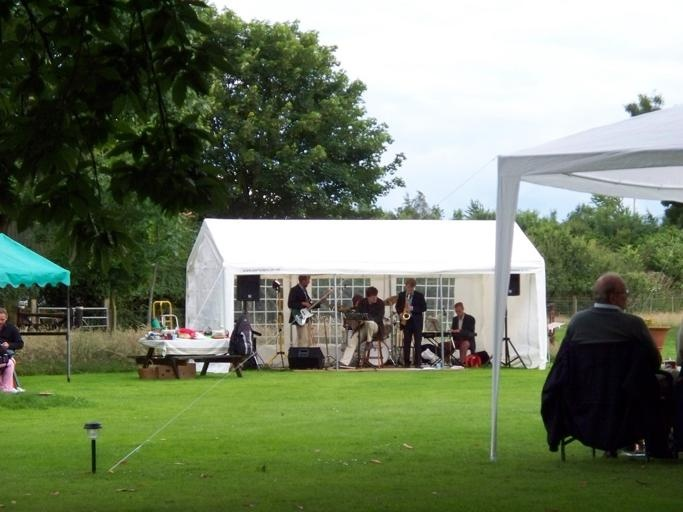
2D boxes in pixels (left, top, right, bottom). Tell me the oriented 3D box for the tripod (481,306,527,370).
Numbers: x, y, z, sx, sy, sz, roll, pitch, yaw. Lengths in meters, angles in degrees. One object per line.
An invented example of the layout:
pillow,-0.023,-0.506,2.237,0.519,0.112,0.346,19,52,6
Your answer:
tripod,3.718,1.726,23.486,0.967,1.473,0.828,-19,22,-40

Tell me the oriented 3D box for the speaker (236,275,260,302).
speaker,-1.985,0.695,23.313,0.649,0.672,0.480,1,-5,-18

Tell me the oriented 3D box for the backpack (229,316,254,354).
backpack,-1.947,1.539,21.211,0.403,0.809,0.472,-1,-8,3

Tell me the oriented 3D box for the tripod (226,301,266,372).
tripod,-1.805,1.457,21.486,0.521,1.067,0.566,-10,-19,-9

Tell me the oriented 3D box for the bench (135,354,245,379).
bench,-2.991,2.156,21.327,1.999,0.504,1.308,1,-9,-12

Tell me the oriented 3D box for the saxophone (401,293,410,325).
saxophone,1.379,1.111,22.896,0.192,0.637,0.287,6,-10,-38

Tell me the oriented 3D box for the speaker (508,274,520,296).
speaker,3.673,0.601,23.216,0.228,0.464,0.496,-4,-9,25

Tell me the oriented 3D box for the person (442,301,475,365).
person,2.615,1.703,23.923,0.646,1.343,0.970,-1,-8,2

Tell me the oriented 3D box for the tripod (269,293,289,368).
tripod,-1.377,1.569,24.060,0.369,1.724,0.601,0,-8,-5

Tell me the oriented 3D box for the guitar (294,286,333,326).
guitar,-0.616,1.136,23.183,0.746,0.679,0.914,-3,-9,16

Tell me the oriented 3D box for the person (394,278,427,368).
person,1.480,1.403,23.100,0.617,1.823,0.756,-1,-8,3
